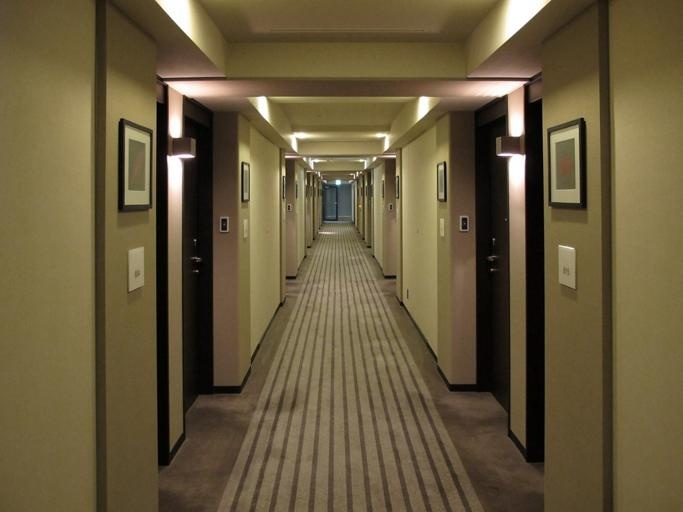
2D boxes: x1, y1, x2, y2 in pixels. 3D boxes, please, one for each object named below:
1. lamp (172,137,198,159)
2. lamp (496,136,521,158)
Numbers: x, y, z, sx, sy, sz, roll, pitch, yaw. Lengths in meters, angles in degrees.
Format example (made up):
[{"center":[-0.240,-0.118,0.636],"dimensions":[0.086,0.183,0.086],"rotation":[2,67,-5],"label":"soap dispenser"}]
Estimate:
[{"center":[-1.262,-0.870,4.370],"dimensions":[0.144,0.132,0.161],"rotation":[0,6,1],"label":"lamp"},{"center":[1.326,-0.860,4.277],"dimensions":[0.140,0.110,0.160],"rotation":[0,7,4],"label":"lamp"}]
